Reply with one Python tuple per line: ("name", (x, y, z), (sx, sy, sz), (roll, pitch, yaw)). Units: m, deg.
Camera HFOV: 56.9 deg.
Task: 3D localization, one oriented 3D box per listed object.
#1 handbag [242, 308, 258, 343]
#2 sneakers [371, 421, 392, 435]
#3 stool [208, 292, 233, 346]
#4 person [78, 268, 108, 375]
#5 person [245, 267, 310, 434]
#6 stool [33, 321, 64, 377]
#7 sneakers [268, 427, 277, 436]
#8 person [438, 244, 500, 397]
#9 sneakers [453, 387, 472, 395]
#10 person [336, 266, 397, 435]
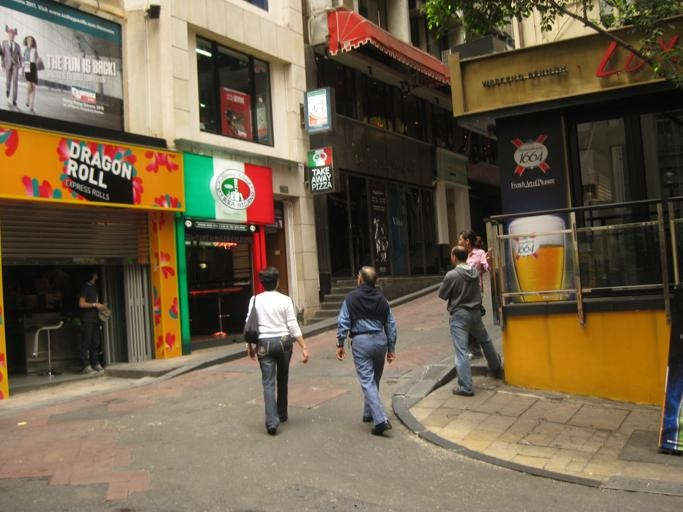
("handbag", (-1.216, 0.912, 8.453), (0.196, 0.556, 0.147), (-3, 4, -10))
("sneakers", (0.526, 2.239, 8.257), (0.259, 0.217, 0.271), (-2, 4, 2))
("stool", (-3.332, 1.594, 17.139), (0.391, 1.137, 1.073), (-3, 4, -11))
("person", (-5.534, 1.439, 13.962), (0.508, 2.170, 0.770), (-3, 4, -22))
("person", (-0.908, 1.259, 8.606), (0.811, 2.174, 0.712), (-2, 4, -3))
("stool", (-6.566, 2.050, 14.056), (0.679, 1.092, 1.211), (-4, 4, -25))
("sneakers", (-0.911, 2.321, 8.359), (0.106, 0.105, 0.040), (2, 15, -17))
("person", (1.968, 0.965, 9.840), (0.557, 2.233, 1.055), (1, 5, 32))
("sneakers", (1.844, 2.047, 9.537), (0.257, 0.116, 0.106), (7, 5, 31))
("person", (0.343, 1.260, 8.451), (0.758, 2.143, 0.754), (-1, 4, 6))
